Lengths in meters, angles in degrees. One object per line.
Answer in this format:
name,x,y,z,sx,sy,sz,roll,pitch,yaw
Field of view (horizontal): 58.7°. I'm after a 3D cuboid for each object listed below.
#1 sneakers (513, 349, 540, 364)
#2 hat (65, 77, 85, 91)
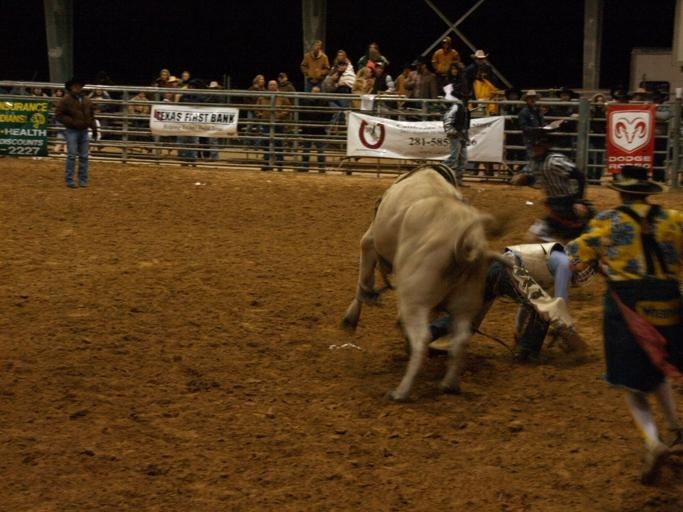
sneakers,1.952,1.072,6.415,0.251,0.115,0.070,-1,10,10
hat,-5.437,-3.516,12.379,0.271,0.288,0.384,-1,11,-24
